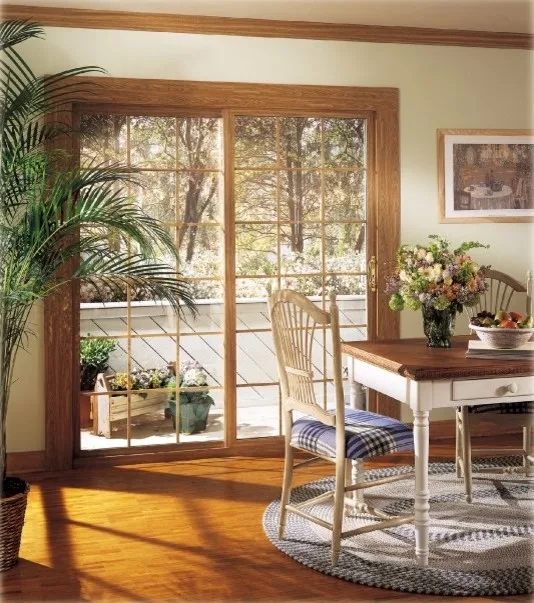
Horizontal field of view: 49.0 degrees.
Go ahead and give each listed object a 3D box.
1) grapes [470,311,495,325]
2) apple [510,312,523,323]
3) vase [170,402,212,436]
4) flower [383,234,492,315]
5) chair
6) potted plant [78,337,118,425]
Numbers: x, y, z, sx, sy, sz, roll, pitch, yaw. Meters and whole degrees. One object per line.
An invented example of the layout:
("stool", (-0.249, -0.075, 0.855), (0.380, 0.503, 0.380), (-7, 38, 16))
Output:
("grapes", (0.994, 0.080, 2.654), (0.116, 0.042, 0.095), (-6, 5, -13))
("apple", (1.105, 0.072, 2.599), (0.052, 0.028, 0.041), (35, 32, 23))
("vase", (-0.502, 0.748, 3.824), (0.263, 0.172, 0.220), (6, -10, -38))
("flower", (0.718, -0.121, 2.702), (0.457, 0.389, 0.392), (-1, 3, -8))
("chair", (0.461, 0.423, 3.051), (1.248, 1.606, 1.095), (-4, 5, -24))
("potted plant", (-1.101, 0.471, 3.685), (0.289, 0.457, 0.279), (-4, -10, -33))
